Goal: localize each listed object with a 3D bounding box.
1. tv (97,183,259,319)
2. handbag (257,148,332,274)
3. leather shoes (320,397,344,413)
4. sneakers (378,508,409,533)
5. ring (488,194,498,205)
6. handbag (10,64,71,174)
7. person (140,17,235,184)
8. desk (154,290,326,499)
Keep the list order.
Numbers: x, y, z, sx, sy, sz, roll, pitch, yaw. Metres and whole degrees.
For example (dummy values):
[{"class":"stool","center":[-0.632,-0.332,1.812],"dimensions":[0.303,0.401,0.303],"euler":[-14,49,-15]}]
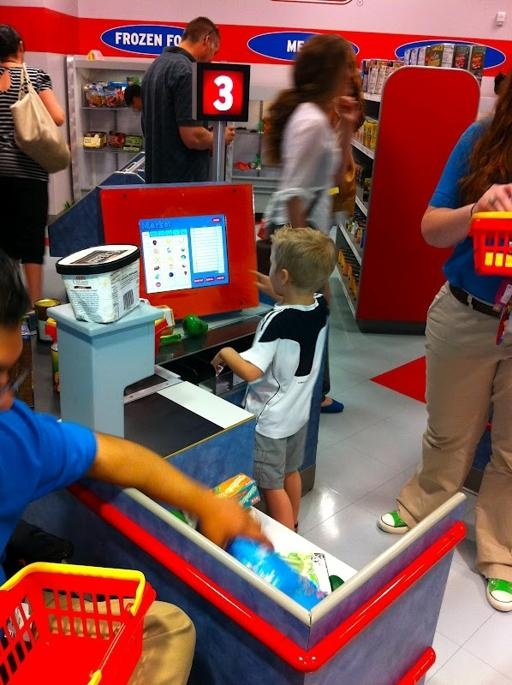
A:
[{"class":"tv","center":[-0.294,-0.348,1.822],"dimensions":[0.606,0.662,0.223],"euler":[-4,10,-35]},{"class":"handbag","center":[0.154,-0.649,2.785],"dimensions":[0.353,0.609,0.631],"euler":[7,19,10]},{"class":"leather shoes","center":[0.498,0.413,3.275],"dimensions":[0.175,0.057,0.095],"euler":[4,24,14]},{"class":"sneakers","center":[0.624,0.819,2.269],"dimensions":[0.121,0.051,0.066],"euler":[16,10,-43]},{"class":"ring","center":[0.665,-0.398,1.391],"dimensions":[0.013,0.024,0.019],"euler":[-3,22,-7]},{"class":"handbag","center":[-1.474,-1.508,3.351],"dimensions":[0.338,0.688,0.403],"euler":[-8,24,-19]},{"class":"person","center":[-0.439,-1.500,3.045],"dimensions":[0.542,0.987,0.774],"euler":[-4,23,-11]},{"class":"desk","center":[-0.061,0.149,1.669],"dimensions":[0.362,0.649,0.693],"euler":[35,39,28]}]
